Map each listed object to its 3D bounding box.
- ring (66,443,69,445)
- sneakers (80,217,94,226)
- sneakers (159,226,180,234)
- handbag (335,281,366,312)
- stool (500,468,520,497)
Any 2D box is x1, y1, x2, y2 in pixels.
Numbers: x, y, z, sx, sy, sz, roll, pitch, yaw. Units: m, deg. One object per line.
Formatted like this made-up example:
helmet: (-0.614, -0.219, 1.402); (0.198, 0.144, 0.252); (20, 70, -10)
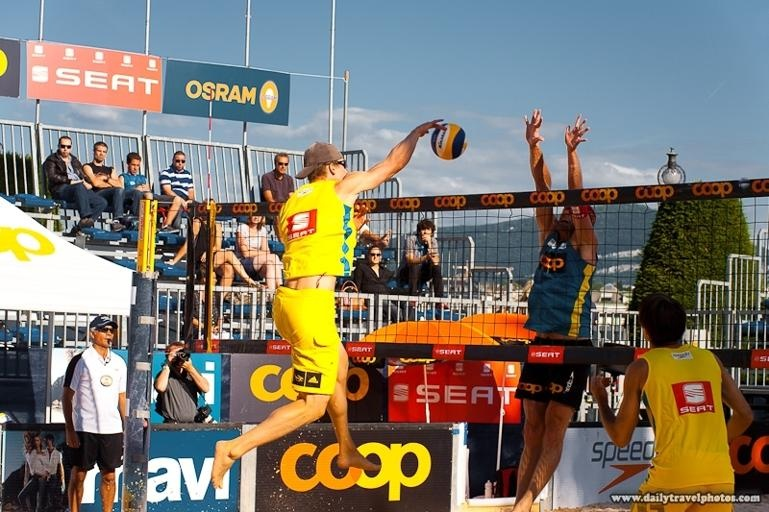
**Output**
ring: (-4.328, 2.551, 19.779); (0.022, 0.031, 0.009); (-11, 1, -5)
sneakers: (-5.084, -0.583, 24.733); (0.167, 0.193, 0.149); (26, 11, 34)
sneakers: (-3.786, -0.457, 25.536); (0.312, 0.137, 0.107); (-2, 2, -11)
handbag: (-0.519, 0.620, 22.348); (0.479, 0.538, 0.241); (2, 19, 4)
stool: (1.752, 3.160, 20.444); (0.310, 0.590, 0.333); (-1, -8, 0)
